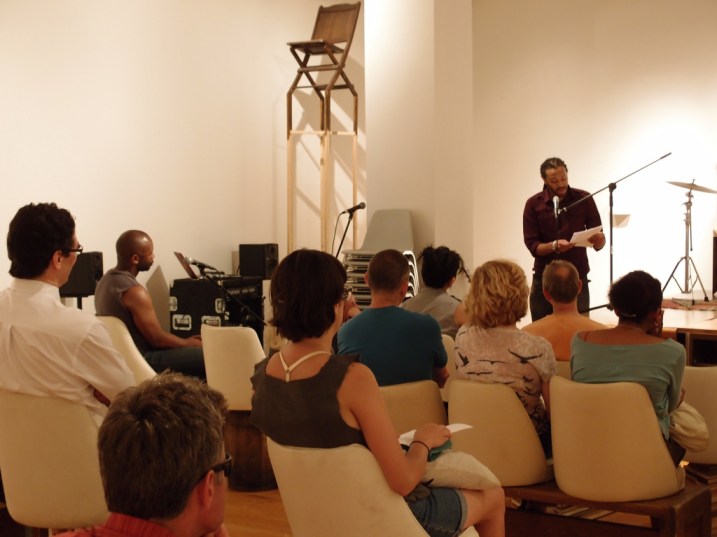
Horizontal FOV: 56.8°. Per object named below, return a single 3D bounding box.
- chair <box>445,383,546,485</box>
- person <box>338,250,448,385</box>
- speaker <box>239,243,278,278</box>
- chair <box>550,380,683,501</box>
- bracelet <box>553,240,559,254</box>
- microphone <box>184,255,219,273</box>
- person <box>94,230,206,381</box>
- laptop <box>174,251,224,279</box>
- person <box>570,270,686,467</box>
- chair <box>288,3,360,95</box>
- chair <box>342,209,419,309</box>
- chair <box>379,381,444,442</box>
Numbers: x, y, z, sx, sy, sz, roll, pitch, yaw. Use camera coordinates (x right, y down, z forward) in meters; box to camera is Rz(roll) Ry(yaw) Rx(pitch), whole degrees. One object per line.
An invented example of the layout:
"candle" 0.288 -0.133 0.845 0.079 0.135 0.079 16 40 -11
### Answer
"chair" 0.577 0.657 2.833 0.379 0.486 0.390 -2 -2 29
"person" 0.174 0.182 3.068 0.490 0.827 0.543 0 2 17
"speaker" -1.002 -0.040 6.770 0.369 0.440 0.398 0 0 11
"chair" 0.975 0.637 2.552 0.403 0.455 0.477 0 1 27
"bracelet" 1.419 -0.162 4.757 0.039 0.070 0.057 2 1 19
"microphone" -1.467 -0.041 6.128 0.362 0.126 0.062 15 9 -21
"person" -1.357 0.465 4.601 0.732 1.414 0.523 -9 11 -38
"laptop" -1.421 -0.005 5.886 0.569 0.286 0.206 1 14 12
"person" 1.222 0.450 2.876 0.450 0.865 0.555 3 7 43
"chair" -0.369 -2.379 7.275 0.687 0.969 1.227 2 -1 -5
"chair" 0.205 -0.072 5.527 0.679 1.091 0.701 -1 -3 28
"chair" 0.230 0.599 2.774 0.186 0.294 0.221 -3 -6 -25
